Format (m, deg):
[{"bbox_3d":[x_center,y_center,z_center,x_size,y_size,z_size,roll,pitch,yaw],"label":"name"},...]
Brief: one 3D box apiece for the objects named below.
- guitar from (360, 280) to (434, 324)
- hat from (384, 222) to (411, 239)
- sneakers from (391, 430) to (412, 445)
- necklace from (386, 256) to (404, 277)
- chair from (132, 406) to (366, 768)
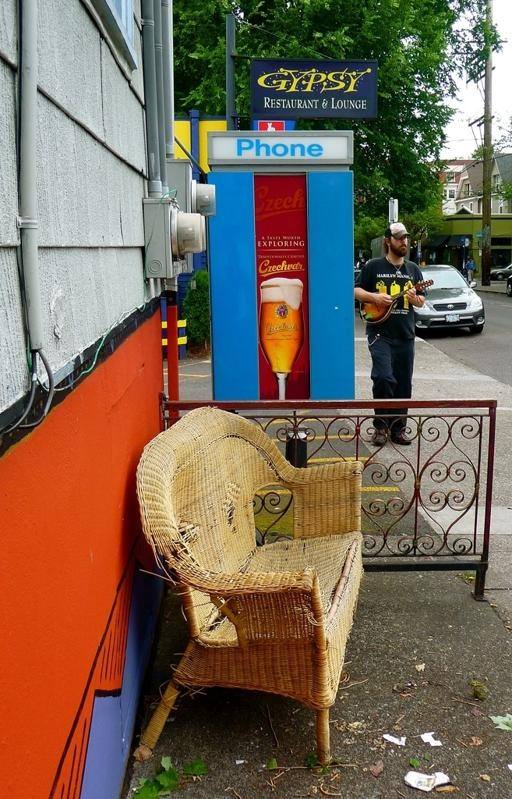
[{"bbox_3d":[1.301,-0.940,6.293,0.665,0.340,0.097,-33,-1,19],"label":"guitar"},{"bbox_3d":[1.286,-1.535,6.134,0.147,0.120,0.218,-8,11,-10],"label":"hat"},{"bbox_3d":[1.399,0.369,6.471,0.121,0.155,0.317,0,-5,-6],"label":"sneakers"},{"bbox_3d":[1.326,-1.267,6.358,0.128,0.193,0.043,1,-1,-16],"label":"necklace"},{"bbox_3d":[0.013,0.647,2.605,0.769,1.069,1.271,0,10,9],"label":"chair"}]
